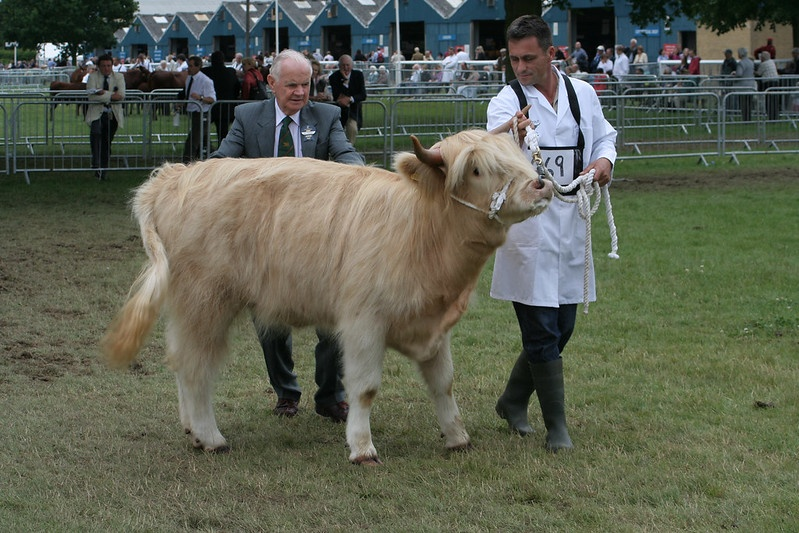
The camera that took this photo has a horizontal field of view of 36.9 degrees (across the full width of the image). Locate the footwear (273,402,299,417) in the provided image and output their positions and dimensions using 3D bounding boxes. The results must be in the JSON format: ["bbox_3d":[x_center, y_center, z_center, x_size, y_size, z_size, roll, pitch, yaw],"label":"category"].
[{"bbox_3d":[-1.253,1.585,13.387,0.133,0.131,0.256,3,-8,-38],"label":"footwear"}]

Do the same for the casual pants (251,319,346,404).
[{"bbox_3d":[-1.120,1.076,13.413,0.709,1.153,0.321,-7,7,11],"label":"casual pants"}]

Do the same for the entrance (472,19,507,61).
[{"bbox_3d":[4.827,-11.842,63.299,1.696,2.535,0.198,1,44,9],"label":"entrance"}]
